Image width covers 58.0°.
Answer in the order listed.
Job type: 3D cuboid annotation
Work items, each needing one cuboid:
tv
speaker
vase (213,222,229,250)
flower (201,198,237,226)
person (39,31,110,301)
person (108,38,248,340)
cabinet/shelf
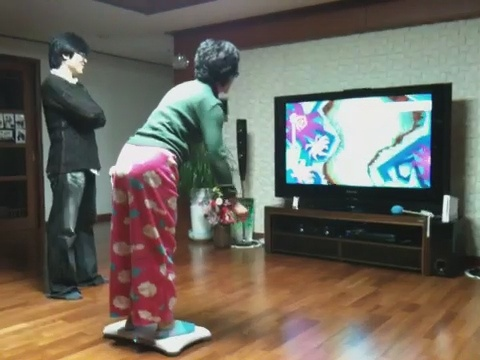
[{"bbox_3d":[1.163,-0.311,4.361,1.715,1.201,0.472,1,0,27],"label":"tv"},{"bbox_3d":[1.901,0.595,3.878,0.450,0.487,0.170,-5,8,-35],"label":"speaker"},{"bbox_3d":[-0.204,0.635,4.863,0.249,0.292,0.248,2,0,-24],"label":"vase"},{"bbox_3d":[-0.212,0.288,4.343,0.246,0.161,0.326,-15,-36,18],"label":"flower"},{"bbox_3d":[-1.343,-0.135,3.471,0.513,2.070,0.505,-5,8,-31],"label":"person"},{"bbox_3d":[-0.403,0.067,2.534,0.779,1.757,0.387,-1,7,-2],"label":"person"},{"bbox_3d":[1.098,0.550,4.439,1.610,0.535,0.523,2,9,29],"label":"cabinet/shelf"}]
